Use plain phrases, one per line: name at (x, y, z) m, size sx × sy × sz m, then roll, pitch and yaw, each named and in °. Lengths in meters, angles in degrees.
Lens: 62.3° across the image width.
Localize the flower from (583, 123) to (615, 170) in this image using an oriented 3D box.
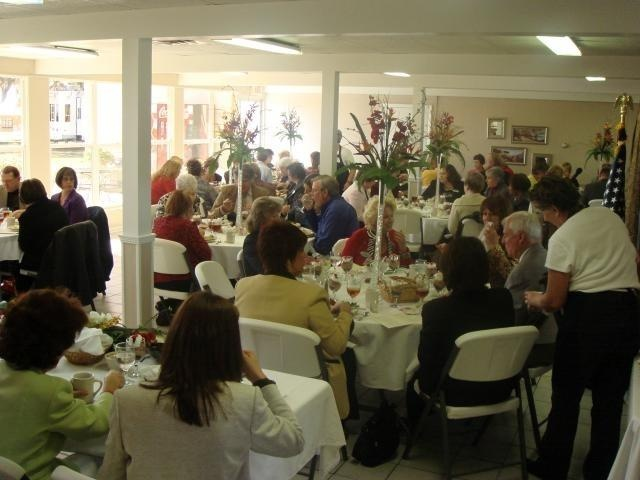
flower at (6.080, -1.992, 11.334) m, size 0.459 × 0.750 × 0.502 m, roll 5°, pitch -4°, yaw 16°

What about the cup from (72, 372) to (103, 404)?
cup at (-0.929, 0.600, 2.143) m, size 0.078 × 0.114 × 0.126 m, roll 1°, pitch -4°, yaw 39°

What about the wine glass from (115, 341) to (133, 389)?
wine glass at (-0.835, 0.529, 2.273) m, size 0.078 × 0.165 × 0.073 m, roll -4°, pitch 7°, yaw -35°

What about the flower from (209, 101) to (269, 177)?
flower at (-0.915, -1.137, 5.923) m, size 0.325 × 0.502 × 0.354 m, roll 2°, pitch 14°, yaw 29°

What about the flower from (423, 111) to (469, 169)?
flower at (1.781, -1.393, 7.874) m, size 0.552 × 0.958 × 0.569 m, roll 12°, pitch 3°, yaw -28°

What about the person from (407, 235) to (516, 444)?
person at (0.796, 0.586, 2.908) m, size 0.576 × 1.186 × 0.363 m, roll 5°, pitch 9°, yaw 10°

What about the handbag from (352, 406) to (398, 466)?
handbag at (0.343, 1.167, 3.241) m, size 0.233 × 0.330 × 0.095 m, roll 41°, pitch -11°, yaw -15°

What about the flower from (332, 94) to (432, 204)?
flower at (0.468, -0.517, 3.426) m, size 0.445 × 0.631 × 0.395 m, roll -14°, pitch 17°, yaw -24°

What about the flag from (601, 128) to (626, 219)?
flag at (1.974, -0.441, 3.508) m, size 0.134 × 0.632 × 0.132 m, roll -28°, pitch 30°, yaw -30°

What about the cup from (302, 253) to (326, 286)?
cup at (-0.039, 0.208, 3.541) m, size 0.181 × 0.131 × 0.173 m, roll -1°, pitch 20°, yaw 0°
